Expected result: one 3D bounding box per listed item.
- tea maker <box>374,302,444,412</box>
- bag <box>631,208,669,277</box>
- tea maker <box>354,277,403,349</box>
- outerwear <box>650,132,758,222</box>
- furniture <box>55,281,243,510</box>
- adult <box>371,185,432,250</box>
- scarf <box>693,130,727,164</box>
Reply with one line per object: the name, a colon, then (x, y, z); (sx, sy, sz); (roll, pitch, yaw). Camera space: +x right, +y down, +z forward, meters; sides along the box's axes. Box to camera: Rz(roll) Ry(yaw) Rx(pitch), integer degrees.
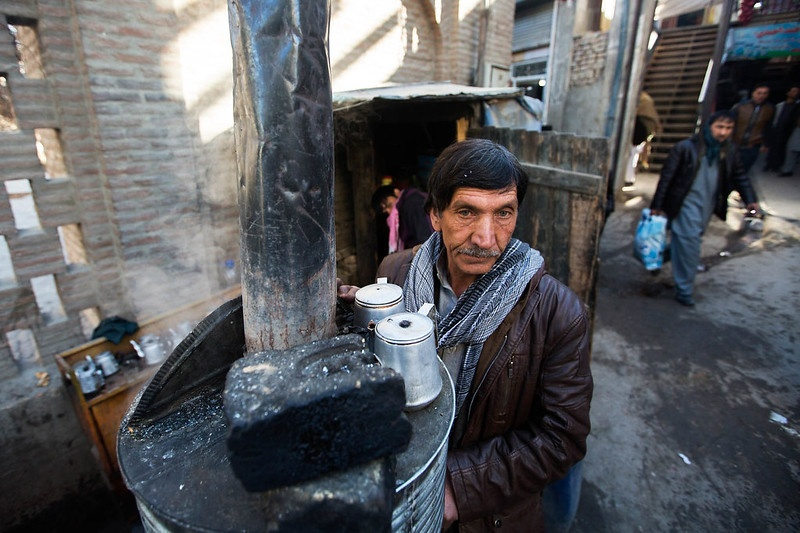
tea maker: (0.103, 0.510, 2.933); (0.389, 0.510, 0.641); (3, 25, 22)
bag: (3.808, -0.339, 7.129); (0.331, 0.978, 0.841); (-5, 28, 3)
tea maker: (-0.137, 0.276, 2.834); (0.284, 0.385, 0.369); (-1, 14, -4)
outerwear: (4.414, -1.205, 6.684); (1.351, 1.226, 0.640); (15, 14, 41)
furniture: (-2.863, 1.397, 5.331); (0.812, 1.655, 1.450); (8, 21, 24)
adult: (0.094, -0.683, 6.723); (0.686, 1.063, 1.021); (-18, 18, -35)
scarf: (4.334, -1.681, 6.601); (0.288, 0.390, 0.137); (-7, -7, -17)
